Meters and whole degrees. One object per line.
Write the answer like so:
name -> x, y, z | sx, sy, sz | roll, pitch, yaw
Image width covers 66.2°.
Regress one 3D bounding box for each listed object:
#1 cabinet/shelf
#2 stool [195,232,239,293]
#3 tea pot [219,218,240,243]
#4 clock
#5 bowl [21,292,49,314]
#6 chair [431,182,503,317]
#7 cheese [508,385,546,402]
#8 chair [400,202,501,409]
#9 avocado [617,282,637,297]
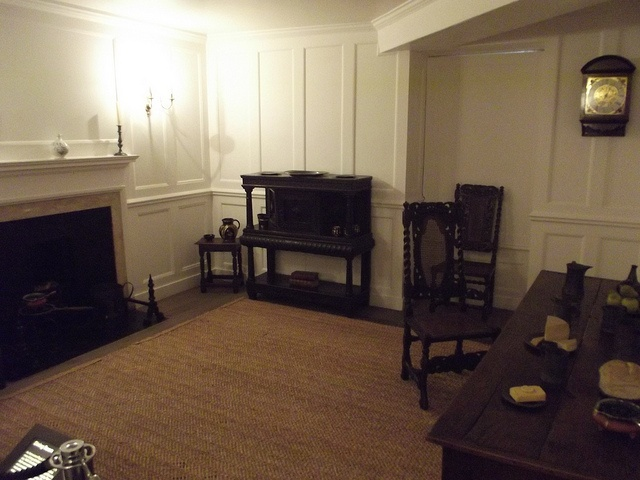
cabinet/shelf -> -0.090, 0.028, 5.390 | 1.374, 1.444, 0.506 | 4, 10, 26
stool -> -1.190, 0.256, 6.153 | 0.617, 0.776, 0.645 | -1, 10, -2
tea pot -> -1.108, -0.136, 5.993 | 0.198, 0.289, 0.321 | 0, 15, 3
clock -> 2.584, -1.301, 4.444 | 0.417, 0.715, 0.105 | 7, 16, 28
bowl -> -2.564, 0.555, 4.406 | 0.183, 0.146, 0.174 | 7, 13, -2
chair -> 1.503, -0.016, 5.112 | 0.604, 1.523, 0.700 | 7, 12, 23
cheese -> 1.024, 0.762, 2.421 | 0.093, 0.031, 0.098 | -1, 7, 10
chair -> 1.130, 0.499, 4.007 | 0.838, 1.809, 0.965 | -1, 10, -8
avocado -> 1.978, 0.323, 3.156 | 0.094, 0.045, 0.073 | 13, 10, -6
